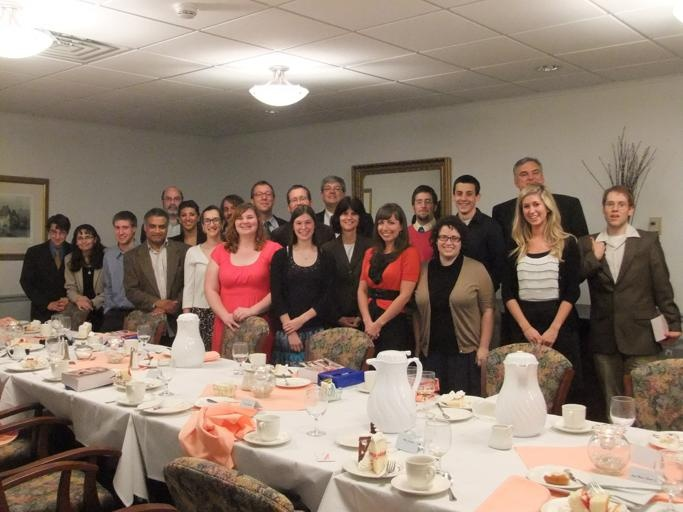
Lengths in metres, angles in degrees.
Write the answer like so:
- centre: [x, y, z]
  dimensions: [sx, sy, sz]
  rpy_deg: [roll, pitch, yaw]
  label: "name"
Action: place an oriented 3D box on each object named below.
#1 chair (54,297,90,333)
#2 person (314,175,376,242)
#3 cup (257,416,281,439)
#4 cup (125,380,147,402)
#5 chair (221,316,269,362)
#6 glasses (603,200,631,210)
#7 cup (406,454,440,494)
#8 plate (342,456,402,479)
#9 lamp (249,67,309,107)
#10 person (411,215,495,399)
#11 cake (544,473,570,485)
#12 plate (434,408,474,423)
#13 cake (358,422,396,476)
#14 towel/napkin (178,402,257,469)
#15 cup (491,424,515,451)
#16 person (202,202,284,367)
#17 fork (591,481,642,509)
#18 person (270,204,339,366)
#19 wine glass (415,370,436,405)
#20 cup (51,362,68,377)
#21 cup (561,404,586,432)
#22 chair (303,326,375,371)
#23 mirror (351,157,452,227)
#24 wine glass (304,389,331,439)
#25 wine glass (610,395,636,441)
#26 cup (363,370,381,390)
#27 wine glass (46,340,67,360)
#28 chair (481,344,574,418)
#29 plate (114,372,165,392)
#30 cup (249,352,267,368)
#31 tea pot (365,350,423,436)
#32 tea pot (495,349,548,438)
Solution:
- centre: [-2.738, 0.631, 5.171]
  dimensions: [0.581, 0.209, 0.356]
  rpy_deg: [-16, -22, 30]
  label: "chair"
- centre: [-0.093, -0.383, 5.191]
  dimensions: [0.613, 0.877, 0.438]
  rpy_deg: [2, -8, -5]
  label: "person"
- centre: [-0.287, 0.674, 1.976]
  dimensions: [0.066, 0.072, 0.101]
  rpy_deg: [-2, -3, 2]
  label: "cup"
- centre: [-0.975, 0.641, 2.383]
  dimensions: [0.066, 0.075, 0.100]
  rpy_deg: [0, -1, -3]
  label: "cup"
- centre: [-0.671, 0.565, 3.463]
  dimensions: [0.296, 0.391, 0.210]
  rpy_deg: [-8, -17, 44]
  label: "chair"
- centre: [2.085, -0.392, 3.800]
  dimensions: [0.167, 0.072, 0.090]
  rpy_deg: [-2, 2, 25]
  label: "glasses"
- centre: [0.265, 0.714, 1.635]
  dimensions: [0.080, 0.090, 0.126]
  rpy_deg: [2, -7, -18]
  label: "cup"
- centre: [0.113, 0.739, 1.759]
  dimensions: [0.220, 0.043, 0.132]
  rpy_deg: [-2, 1, -6]
  label: "plate"
- centre: [-0.585, -1.595, 4.845]
  dimensions: [0.403, 0.241, 0.410]
  rpy_deg: [9, 14, 32]
  label: "lamp"
- centre: [0.823, 0.586, 3.798]
  dimensions: [0.609, 1.705, 0.445]
  rpy_deg: [0, 11, 19]
  label: "person"
- centre: [0.718, 0.740, 1.671]
  dimensions: [0.043, 0.017, 0.043]
  rpy_deg: [1, -2, -26]
  label: "cake"
- centre: [0.496, 0.701, 2.206]
  dimensions: [0.148, 0.033, 0.150]
  rpy_deg: [2, 4, -4]
  label: "plate"
- centre: [0.098, 0.697, 1.794]
  dimensions: [0.113, 0.174, 0.135]
  rpy_deg: [-1, -5, -3]
  label: "cake"
- centre: [-0.503, 0.698, 2.022]
  dimensions: [0.235, 0.086, 0.240]
  rpy_deg: [10, 21, 8]
  label: "towel/napkin"
- centre: [0.633, 0.701, 1.951]
  dimensions: [0.090, 0.094, 0.069]
  rpy_deg: [-2, -2, 20]
  label: "cup"
- centre: [-0.806, 0.468, 4.137]
  dimensions: [0.628, 1.788, 0.610]
  rpy_deg: [1, 0, 4]
  label: "person"
- centre: [0.857, 0.750, 1.578]
  dimensions: [0.141, 0.025, 0.082]
  rpy_deg: [10, 11, 43]
  label: "fork"
- centre: [-0.334, 0.443, 4.122]
  dimensions: [0.514, 1.668, 0.445]
  rpy_deg: [1, 16, -12]
  label: "person"
- centre: [0.424, 0.645, 2.452]
  dimensions: [0.117, 0.133, 0.136]
  rpy_deg: [0, -4, -2]
  label: "wine glass"
- centre: [-1.585, 0.634, 2.832]
  dimensions: [0.091, 0.075, 0.074]
  rpy_deg: [6, -6, -21]
  label: "cup"
- centre: [0.980, 0.678, 2.110]
  dimensions: [0.082, 0.078, 0.105]
  rpy_deg: [-3, -3, 8]
  label: "cup"
- centre: [-0.010, 0.660, 3.143]
  dimensions: [0.330, 0.407, 0.303]
  rpy_deg: [9, -2, 16]
  label: "chair"
- centre: [0.710, -0.699, 6.134]
  dimensions: [1.300, 0.938, 0.058]
  rpy_deg: [-1, 11, 33]
  label: "mirror"
- centre: [-0.109, 0.702, 2.367]
  dimensions: [0.114, 0.140, 0.116]
  rpy_deg: [8, -16, -14]
  label: "wine glass"
- centre: [1.079, 0.601, 1.928]
  dimensions: [0.076, 0.119, 0.102]
  rpy_deg: [-2, 2, 18]
  label: "wine glass"
- centre: [0.145, 0.638, 2.592]
  dimensions: [0.076, 0.108, 0.122]
  rpy_deg: [0, -6, -1]
  label: "cup"
- centre: [-1.724, 0.568, 3.051]
  dimensions: [0.103, 0.129, 0.127]
  rpy_deg: [2, -9, -3]
  label: "wine glass"
- centre: [1.044, 0.604, 2.788]
  dimensions: [0.374, 0.381, 0.463]
  rpy_deg: [2, 1, 24]
  label: "chair"
- centre: [-1.062, 0.671, 2.677]
  dimensions: [0.174, 0.031, 0.177]
  rpy_deg: [6, 4, 39]
  label: "plate"
- centre: [-0.481, 0.598, 2.891]
  dimensions: [0.096, 0.070, 0.074]
  rpy_deg: [0, 0, -3]
  label: "cup"
- centre: [0.231, 0.580, 2.172]
  dimensions: [0.260, 0.328, 0.224]
  rpy_deg: [-1, 1, -16]
  label: "tea pot"
- centre: [0.753, 0.570, 2.065]
  dimensions: [0.222, 0.335, 0.202]
  rpy_deg: [-2, 2, 4]
  label: "tea pot"
